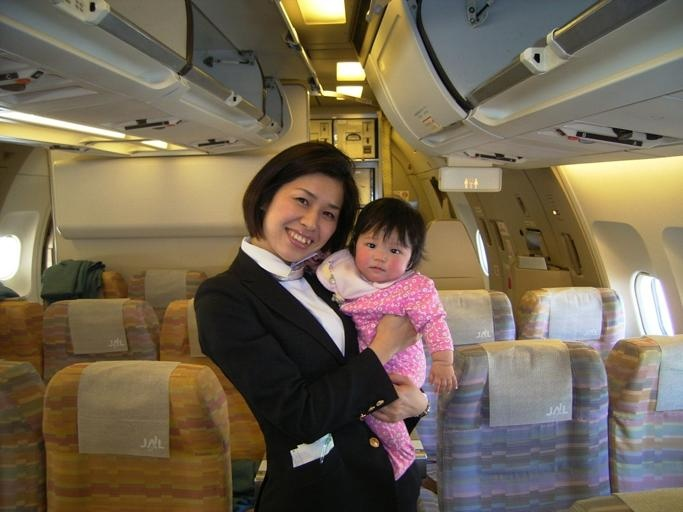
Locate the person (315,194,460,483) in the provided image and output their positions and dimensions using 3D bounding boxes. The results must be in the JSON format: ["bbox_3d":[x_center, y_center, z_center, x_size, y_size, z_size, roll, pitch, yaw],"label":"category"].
[{"bbox_3d":[0.189,0.378,2.304,0.639,1.291,0.365,6,19,22],"label":"person"}]
